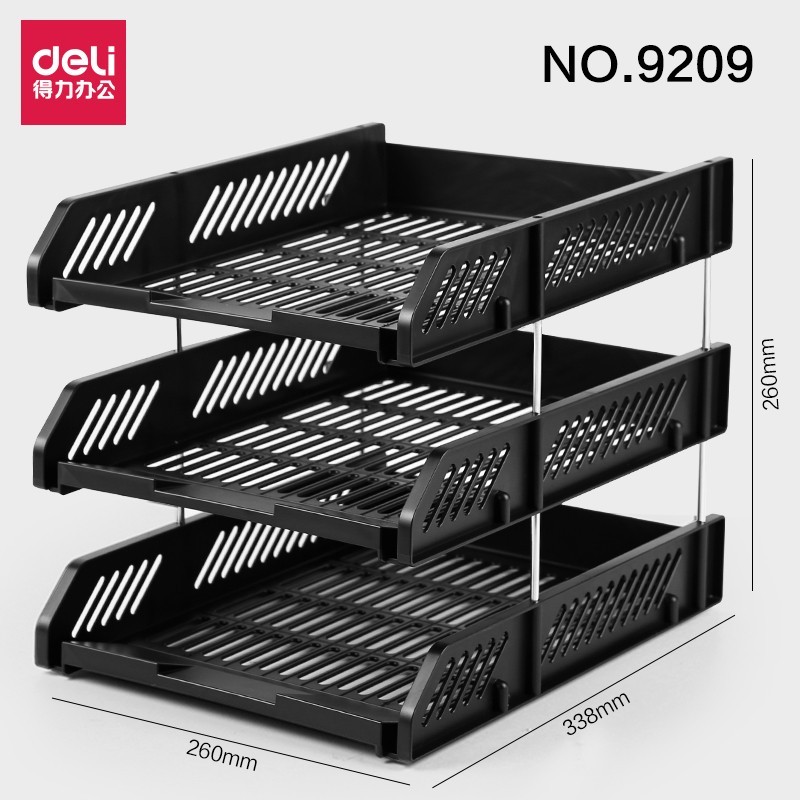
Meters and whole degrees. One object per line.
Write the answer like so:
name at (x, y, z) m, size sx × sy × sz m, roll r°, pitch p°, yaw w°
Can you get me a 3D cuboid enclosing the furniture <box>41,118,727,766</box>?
furniture at (-0.022, 0.108, 3.077) m, size 1.754 × 0.996 × 1.727 m, roll -1°, pitch 8°, yaw 7°
